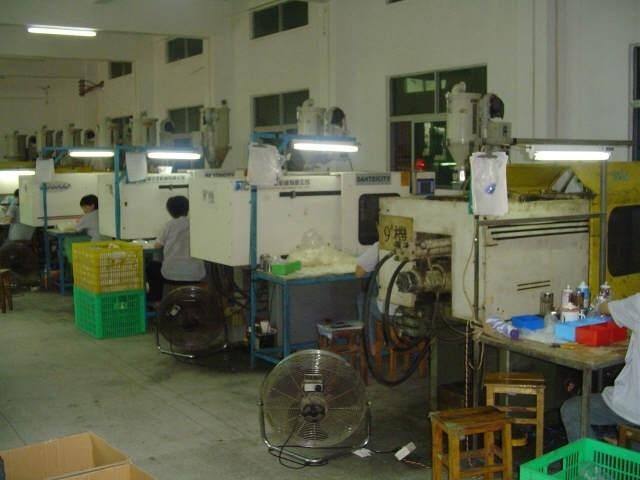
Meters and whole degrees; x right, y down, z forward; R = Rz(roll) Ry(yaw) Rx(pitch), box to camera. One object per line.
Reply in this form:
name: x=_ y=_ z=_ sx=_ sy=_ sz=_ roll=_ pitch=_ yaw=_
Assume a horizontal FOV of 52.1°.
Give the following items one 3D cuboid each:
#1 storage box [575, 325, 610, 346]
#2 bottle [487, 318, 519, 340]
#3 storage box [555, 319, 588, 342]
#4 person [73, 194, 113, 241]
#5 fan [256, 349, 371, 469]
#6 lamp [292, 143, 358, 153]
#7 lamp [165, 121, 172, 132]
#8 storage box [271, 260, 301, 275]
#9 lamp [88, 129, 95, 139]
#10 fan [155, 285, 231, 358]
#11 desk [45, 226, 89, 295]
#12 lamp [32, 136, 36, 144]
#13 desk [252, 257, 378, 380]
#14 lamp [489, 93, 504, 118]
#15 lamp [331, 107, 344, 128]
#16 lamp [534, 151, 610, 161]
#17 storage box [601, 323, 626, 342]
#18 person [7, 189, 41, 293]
storage box: x=1.804 y=0.588 z=4.322 sx=0.186 sy=0.089 sz=0.126 roll=-5 pitch=9 yaw=-25
bottle: x=1.248 y=0.584 z=4.459 sx=0.106 sy=0.064 sz=0.171 roll=21 pitch=7 yaw=-24
storage box: x=1.672 y=0.602 z=4.421 sx=0.175 sy=0.094 sz=0.121 roll=-3 pitch=5 yaw=-40
person: x=-3.247 y=-0.265 z=9.122 sx=0.403 sy=0.768 sz=0.431 roll=22 pitch=16 yaw=36
fan: x=-0.034 y=1.117 z=4.401 sx=0.723 sy=0.750 sz=0.451 roll=1 pitch=11 yaw=2
lamp: x=0.039 y=-0.992 z=6.887 sx=0.308 sy=0.123 sz=0.766 roll=9 pitch=14 yaw=41
lamp: x=-2.050 y=-1.548 z=8.912 sx=0.078 sy=0.143 sz=0.222 roll=0 pitch=10 yaw=6
storage box: x=-0.306 y=0.255 z=6.114 sx=0.142 sy=0.076 sz=0.195 roll=4 pitch=10 yaw=37
lamp: x=-5.157 y=-2.364 z=14.663 sx=0.158 sy=0.213 sz=1.241 roll=-4 pitch=11 yaw=-19
fan: x=-1.235 y=0.795 z=6.290 sx=0.665 sy=0.861 sz=0.746 roll=-3 pitch=10 yaw=-16
desk: x=-3.737 y=0.268 z=9.545 sx=0.550 sy=0.901 sz=1.294 roll=-7 pitch=12 yaw=-31
lamp: x=-6.064 y=-2.123 z=13.884 sx=0.093 sy=0.187 sz=1.084 roll=-5 pitch=11 yaw=-22
desk: x=-0.119 y=0.694 z=6.511 sx=1.132 sy=1.210 sz=0.878 roll=0 pitch=0 yaw=-28
lamp: x=1.394 y=-1.055 z=5.147 sx=0.087 sy=0.190 sz=0.589 roll=2 pitch=11 yaw=18
lamp: x=0.210 y=-1.382 z=7.352 sx=0.085 sy=0.215 sz=0.300 roll=4 pitch=11 yaw=27
lamp: x=1.778 y=-0.605 z=4.619 sx=0.731 sy=0.087 sz=0.093 roll=-7 pitch=12 yaw=-29
storage box: x=1.986 y=0.625 z=4.413 sx=0.124 sy=0.085 sz=0.130 roll=-3 pitch=7 yaw=-12
person: x=-4.530 y=-0.019 z=9.951 sx=0.521 sy=1.323 sz=1.144 roll=-5 pitch=11 yaw=-24
